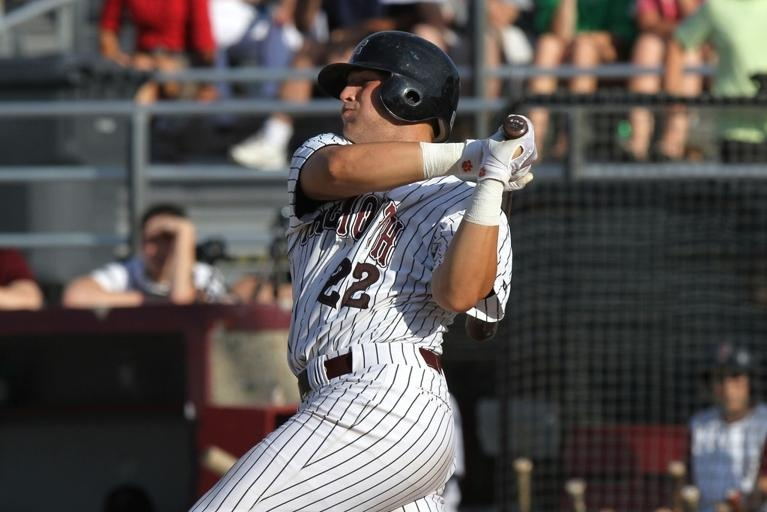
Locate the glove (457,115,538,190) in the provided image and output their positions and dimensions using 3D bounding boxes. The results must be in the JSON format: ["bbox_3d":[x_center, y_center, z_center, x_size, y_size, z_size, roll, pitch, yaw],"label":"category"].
[{"bbox_3d":[0.595,-0.552,9.640,0.420,0.405,0.201,2,7,7],"label":"glove"}]

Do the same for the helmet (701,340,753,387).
[{"bbox_3d":[2.386,0.785,12.618,0.275,0.289,0.318,6,-27,2],"label":"helmet"}]
